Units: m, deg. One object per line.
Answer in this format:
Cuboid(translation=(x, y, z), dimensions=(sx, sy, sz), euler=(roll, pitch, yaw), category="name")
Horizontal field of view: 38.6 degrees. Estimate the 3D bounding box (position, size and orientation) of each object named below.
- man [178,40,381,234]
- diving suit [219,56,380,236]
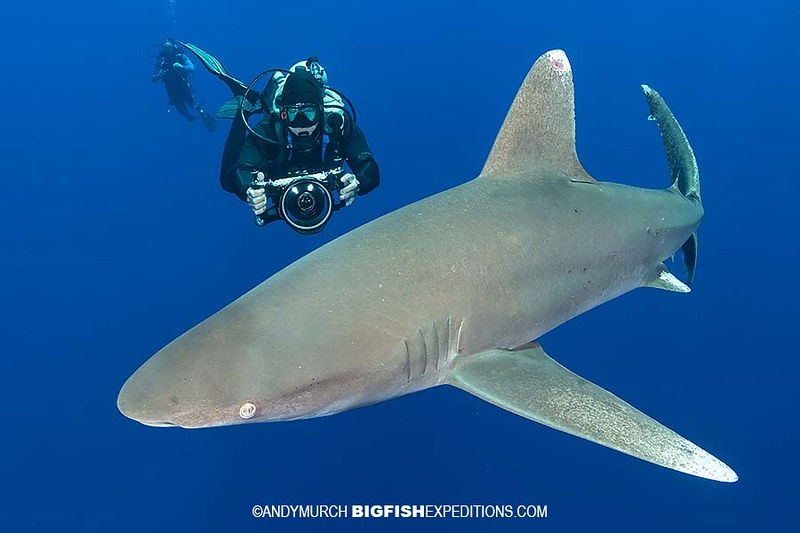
Cuboid(translation=(-1.088, -1.237, 11.209), dimensions=(1.805, 0.864, 2.588), euler=(-9, 44, 2), category="man")
Cuboid(translation=(-1.050, -1.233, 11.027), dimensions=(1.951, 0.834, 2.283), euler=(-5, 51, -4), category="diving suit")
